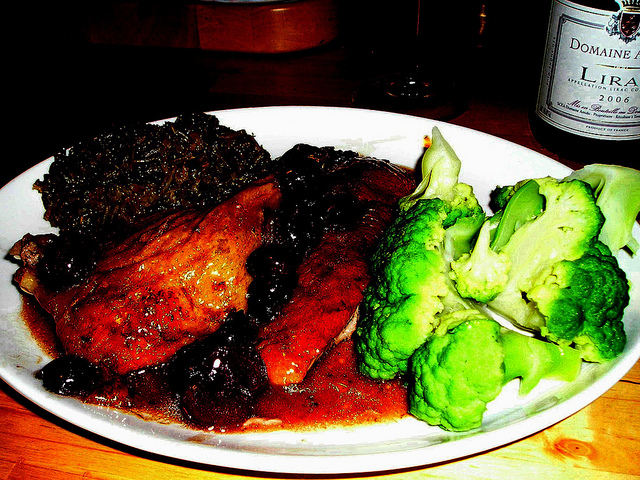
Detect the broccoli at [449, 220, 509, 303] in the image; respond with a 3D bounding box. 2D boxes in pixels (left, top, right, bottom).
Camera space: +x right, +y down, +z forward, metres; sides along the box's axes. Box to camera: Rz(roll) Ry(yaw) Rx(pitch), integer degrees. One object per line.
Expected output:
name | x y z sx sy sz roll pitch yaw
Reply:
broccoli | 0.754 0.119 2.627 0.232 0.309 0.234 -36 54 -27
